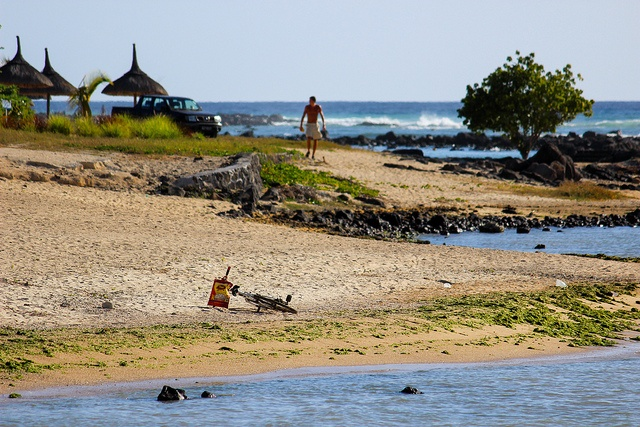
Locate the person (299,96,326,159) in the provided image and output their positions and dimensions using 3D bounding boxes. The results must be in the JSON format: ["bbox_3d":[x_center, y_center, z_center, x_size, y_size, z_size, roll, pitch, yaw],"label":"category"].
[{"bbox_3d":[-0.404,-3.819,70.305,1.061,2.665,1.123,0,11,-15],"label":"person"}]

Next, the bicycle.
[{"bbox_3d":[-1.858,2.927,54.524,2.709,1.201,1.510,14,-8,5],"label":"bicycle"}]
